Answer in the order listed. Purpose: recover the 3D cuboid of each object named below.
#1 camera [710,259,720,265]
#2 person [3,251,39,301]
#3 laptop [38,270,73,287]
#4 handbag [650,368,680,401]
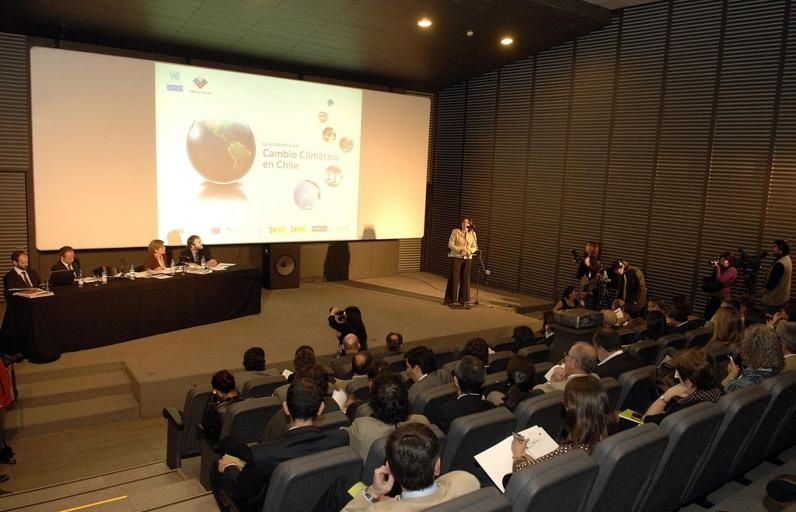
[{"bbox_3d":[5.217,0.100,8.428,0.098,0.038,0.097,1,17,-2],"label":"camera"},{"bbox_3d":[-5.488,0.235,7.384,0.415,0.732,0.633,-12,6,-36],"label":"person"},{"bbox_3d":[-5.035,0.376,7.562,0.261,0.252,0.370,29,24,38],"label":"laptop"},{"bbox_3d":[2.656,1.241,5.114,0.265,0.336,0.111,-19,12,-41],"label":"handbag"}]
